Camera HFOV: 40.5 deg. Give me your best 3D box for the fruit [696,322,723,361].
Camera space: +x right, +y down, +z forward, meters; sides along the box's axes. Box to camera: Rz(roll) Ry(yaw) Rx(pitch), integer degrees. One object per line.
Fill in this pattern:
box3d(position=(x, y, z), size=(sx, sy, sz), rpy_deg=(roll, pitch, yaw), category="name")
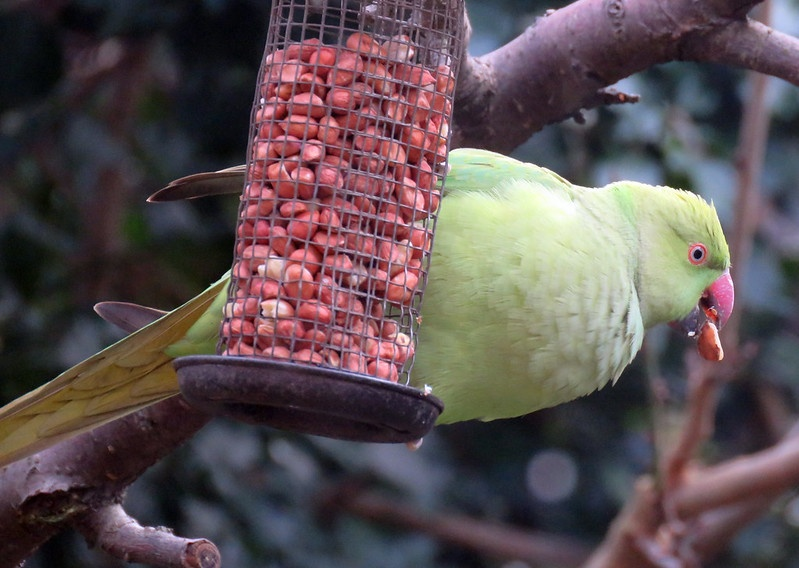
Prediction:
box3d(position=(1.368, 0.250, 4.785), size=(0.056, 0.102, 0.172), rpy_deg=(-17, 64, 14), category="fruit")
